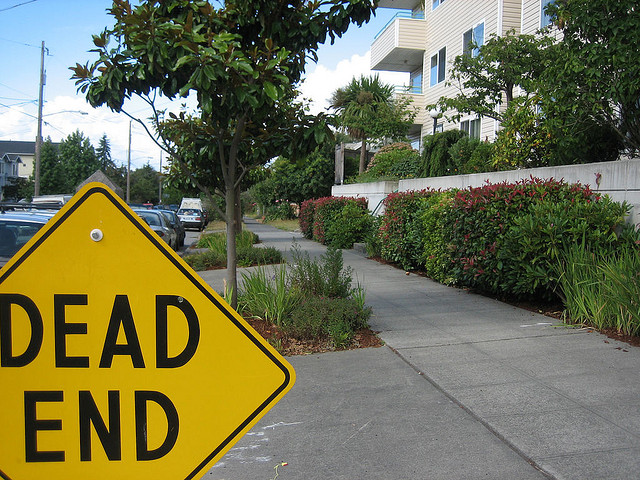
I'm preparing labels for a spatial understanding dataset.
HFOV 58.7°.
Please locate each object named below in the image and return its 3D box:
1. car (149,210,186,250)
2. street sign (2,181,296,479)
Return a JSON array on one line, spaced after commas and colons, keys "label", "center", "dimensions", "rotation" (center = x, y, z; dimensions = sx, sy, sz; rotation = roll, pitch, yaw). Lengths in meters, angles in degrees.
[{"label": "car", "center": [-6.157, -0.484, 23.630], "dimensions": [1.169, 1.177, 2.947], "rotation": [1, 7, 0]}, {"label": "street sign", "center": [-0.849, 0.413, 2.582], "dimensions": [1.187, 1.355, 0.222], "rotation": [-3, 7, -3]}]
